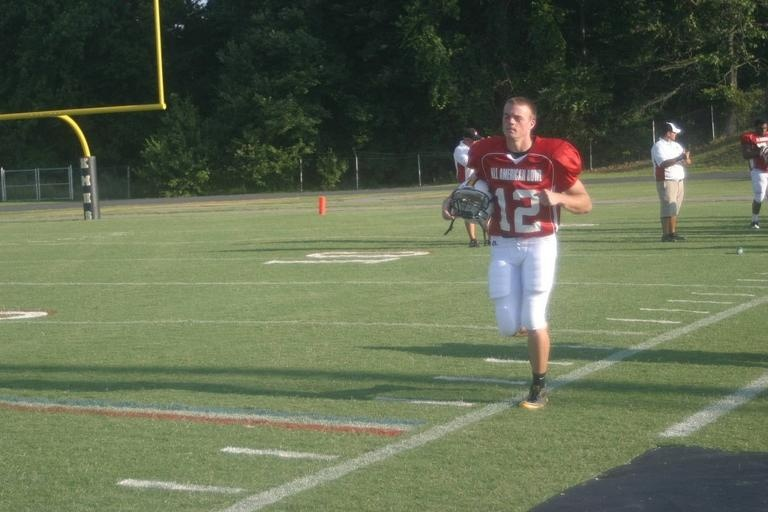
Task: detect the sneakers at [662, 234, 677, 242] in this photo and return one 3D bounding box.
[{"bbox_3d":[8.553,-0.496,44.901,0.431,0.144,0.165,0,2,8],"label":"sneakers"}]

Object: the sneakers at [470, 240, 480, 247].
[{"bbox_3d":[2.697,-0.337,45.328,0.277,0.171,0.190,0,5,26],"label":"sneakers"}]
